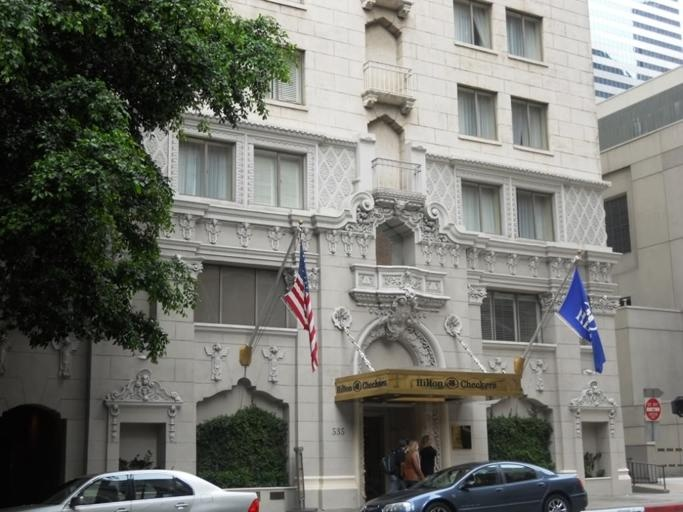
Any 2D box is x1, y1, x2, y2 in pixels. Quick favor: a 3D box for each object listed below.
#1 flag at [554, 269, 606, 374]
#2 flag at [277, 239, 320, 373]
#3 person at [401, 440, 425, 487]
[{"bbox_3d":[9.029,2.158,44.506,2.167,0.505,5.714,24,-34,30],"label":"flag"},{"bbox_3d":[-1.376,1.824,41.277,1.245,4.731,0.501,2,13,16],"label":"flag"},{"bbox_3d":[2.361,7.148,39.223,0.544,2.199,0.561,-8,15,-37],"label":"person"}]
